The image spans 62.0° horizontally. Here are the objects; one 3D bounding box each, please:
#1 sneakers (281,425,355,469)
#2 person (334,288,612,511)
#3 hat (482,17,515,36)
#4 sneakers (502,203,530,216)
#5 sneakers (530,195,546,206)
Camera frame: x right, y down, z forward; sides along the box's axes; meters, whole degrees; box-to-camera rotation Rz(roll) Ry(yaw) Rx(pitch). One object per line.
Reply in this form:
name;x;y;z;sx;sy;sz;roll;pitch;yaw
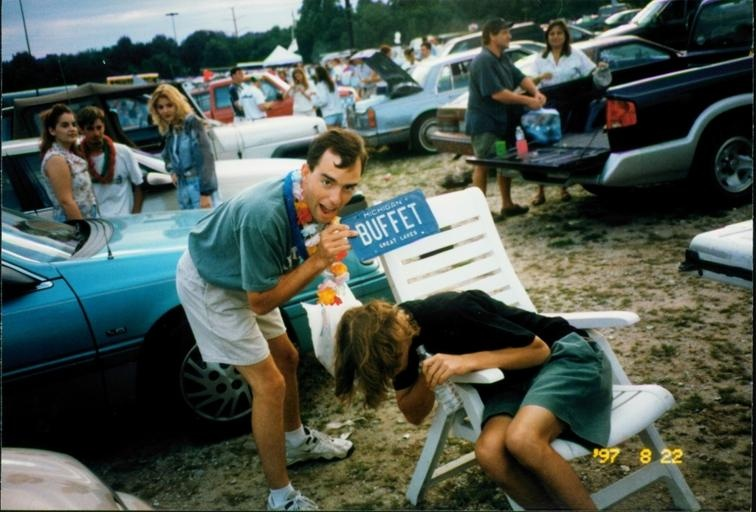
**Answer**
sneakers;-0.400;1.259;4.251;0.526;0.232;0.199;-3;21;-10
person;0.610;0.775;3.705;1.403;1.166;1.162;8;17;43
hat;1.203;-2.360;6.423;0.221;0.114;0.145;-22;12;15
sneakers;1.577;-0.559;7.224;0.306;0.126;0.124;-6;18;-5
sneakers;1.876;-0.662;7.353;0.066;0.098;0.156;-10;-5;-43
